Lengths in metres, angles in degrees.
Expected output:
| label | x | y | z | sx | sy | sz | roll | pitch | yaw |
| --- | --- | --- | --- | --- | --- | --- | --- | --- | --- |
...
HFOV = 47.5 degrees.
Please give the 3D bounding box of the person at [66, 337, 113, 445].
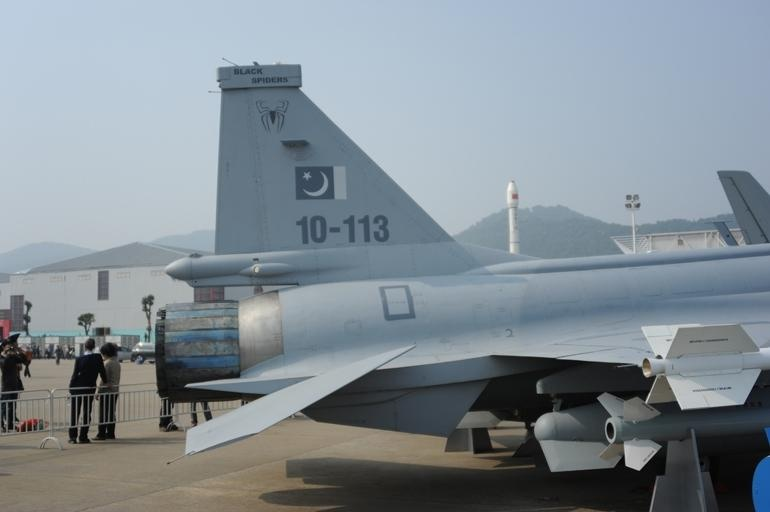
| label | x | y | z | sx | sy | sz | roll | pitch | yaw |
| --- | --- | --- | --- | --- | --- | --- | --- | --- | --- |
| person | -5.474 | 2.452 | 16.172 | 0.681 | 1.273 | 1.031 | -1 | 0 | -19 |
